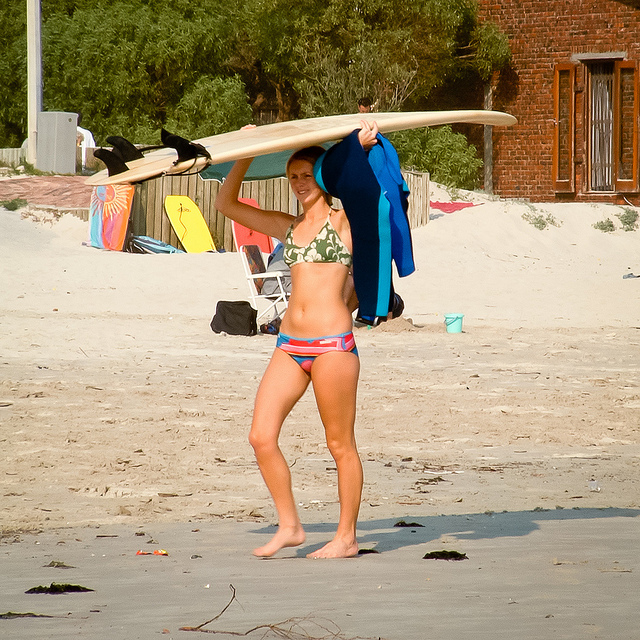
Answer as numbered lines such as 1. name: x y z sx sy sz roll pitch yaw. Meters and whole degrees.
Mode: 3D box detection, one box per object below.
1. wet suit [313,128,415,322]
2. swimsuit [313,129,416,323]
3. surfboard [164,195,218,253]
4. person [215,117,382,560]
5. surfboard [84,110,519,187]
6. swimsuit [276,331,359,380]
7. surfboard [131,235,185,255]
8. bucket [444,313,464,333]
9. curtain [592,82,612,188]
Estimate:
1. wet suit: 0.236 -0.505 7.385 0.404 0.984 0.389 -7 20 -26
2. swimsuit: 0.227 -0.494 7.498 0.390 0.946 0.502 2 -1 15
3. surfboard: -1.783 -1.314 21.316 0.650 0.744 0.608 0 6 -11
4. person: -0.086 0.066 7.447 0.741 2.031 0.779 1 6 -4
5. surfboard: -0.039 -0.845 7.573 2.086 0.223 0.738 -10 5 -20
6. swimsuit: -0.022 0.159 7.379 0.386 0.276 0.275 3 21 26
7. surfboard: -2.228 -1.021 21.155 0.582 0.210 0.823 -2 7 -27
8. bucket: 1.290 0.022 15.260 0.175 0.147 0.172 0 -2 0
9. curtain: 4.836 -3.354 26.959 0.351 1.476 0.063 3 9 30
